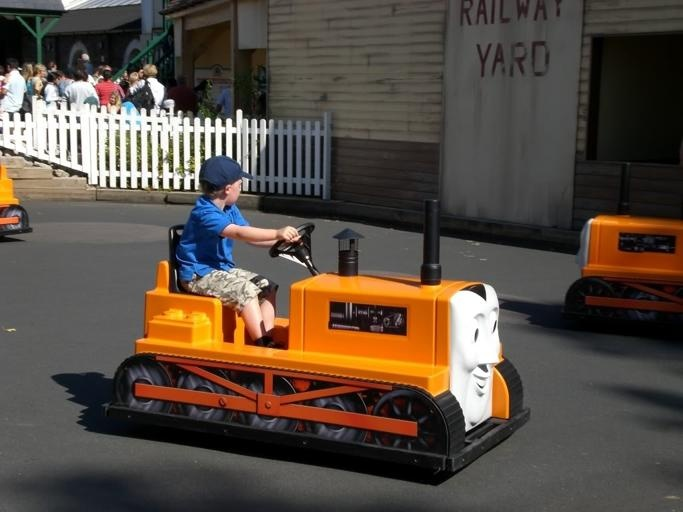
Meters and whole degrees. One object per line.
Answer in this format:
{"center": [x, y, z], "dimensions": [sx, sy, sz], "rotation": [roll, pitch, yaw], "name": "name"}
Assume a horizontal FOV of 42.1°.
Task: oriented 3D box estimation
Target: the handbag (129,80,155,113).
{"center": [-4.212, -3.359, 18.795], "dimensions": [0.603, 0.735, 0.484], "rotation": [0, 18, -10], "name": "handbag"}

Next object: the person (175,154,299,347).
{"center": [-0.784, -0.054, 6.467], "dimensions": [0.943, 1.295, 0.412], "rotation": [7, 13, 31], "name": "person"}

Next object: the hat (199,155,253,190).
{"center": [-0.874, -0.606, 6.508], "dimensions": [0.293, 0.175, 0.224], "rotation": [-18, 29, -26], "name": "hat"}
